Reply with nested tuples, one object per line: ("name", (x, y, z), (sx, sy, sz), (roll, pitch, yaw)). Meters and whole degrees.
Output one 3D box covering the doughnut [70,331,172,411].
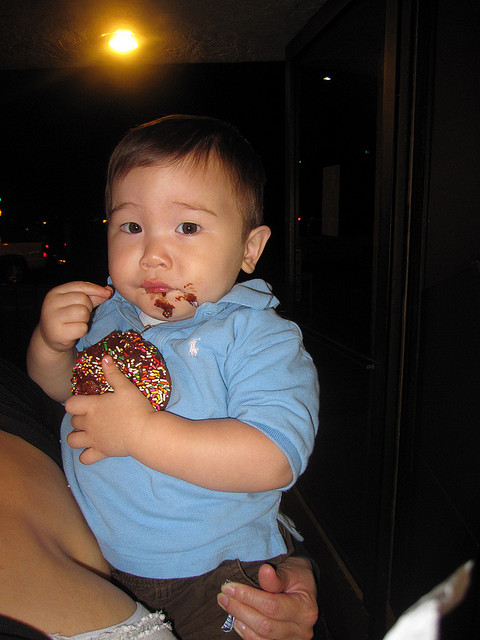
("doughnut", (-0.227, 0.095, 1.025), (0.211, 0.127, 0.091), (3, 14, 28))
